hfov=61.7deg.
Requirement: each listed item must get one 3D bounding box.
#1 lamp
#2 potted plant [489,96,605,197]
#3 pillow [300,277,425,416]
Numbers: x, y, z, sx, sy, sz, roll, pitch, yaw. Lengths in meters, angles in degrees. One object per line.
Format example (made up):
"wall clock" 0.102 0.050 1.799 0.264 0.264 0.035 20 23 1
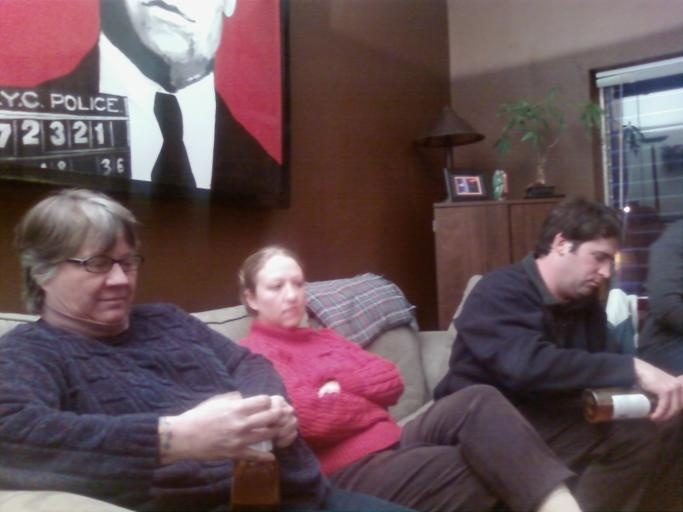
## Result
"lamp" 0.339 -0.350 1.818 0.227 0.226 0.220 -1 -2 -15
"potted plant" 0.445 -0.240 1.261 0.167 0.239 0.228 -2 3 -44
"pillow" 0.041 0.209 1.453 0.302 0.333 0.097 -17 8 -37
